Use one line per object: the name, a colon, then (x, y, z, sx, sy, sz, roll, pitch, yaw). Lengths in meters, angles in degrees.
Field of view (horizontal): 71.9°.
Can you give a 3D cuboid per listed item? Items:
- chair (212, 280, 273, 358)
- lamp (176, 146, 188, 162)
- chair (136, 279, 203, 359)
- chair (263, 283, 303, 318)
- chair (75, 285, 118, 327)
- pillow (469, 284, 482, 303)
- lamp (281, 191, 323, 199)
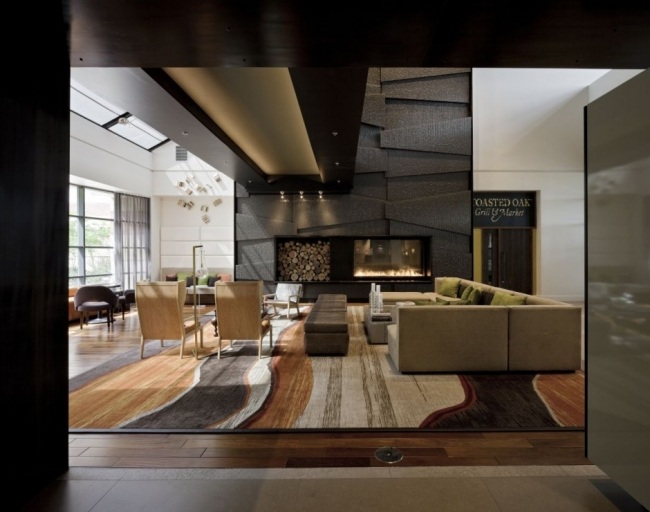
chair: (-1.000, 0.719, 5.312, 0.770, 1.088, 0.842, 0, 0, 2)
lamp: (-3.324, -2.347, 10.305, 0.276, 0.353, 0.148, -2, 11, -6)
chair: (-1.884, 0.728, 5.280, 0.757, 1.179, 0.952, 0, -1, 2)
chair: (-0.771, 0.791, 8.059, 0.520, 0.570, 0.679, -3, 1, 20)
chair: (-3.718, 0.768, 7.415, 0.674, 0.790, 0.700, 0, 2, -20)
pillow: (1.895, 0.476, 5.612, 0.094, 0.170, 0.175, 11, 10, -11)
lamp: (-0.490, -1.253, 9.231, 0.930, 0.154, 0.158, 0, 10, 10)
